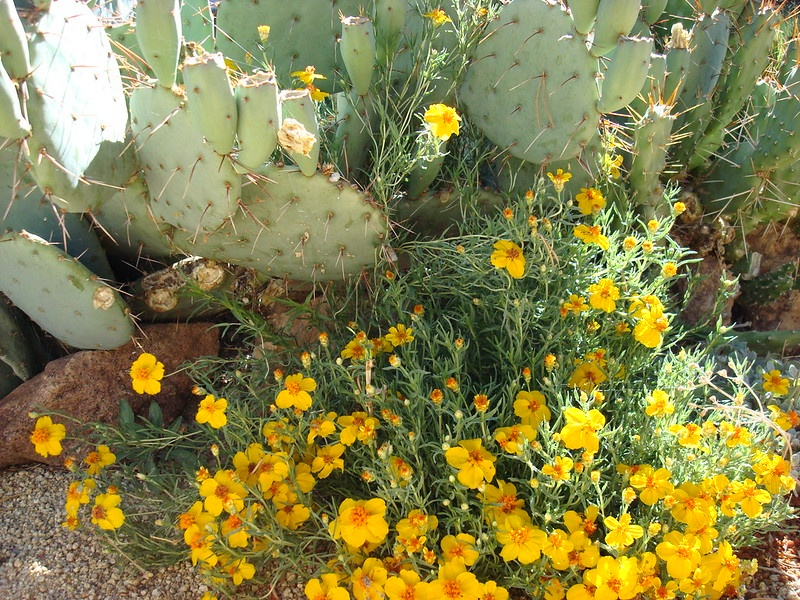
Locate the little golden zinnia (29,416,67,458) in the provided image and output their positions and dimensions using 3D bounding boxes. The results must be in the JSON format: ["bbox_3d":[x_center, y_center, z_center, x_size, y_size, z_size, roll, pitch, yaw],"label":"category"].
[{"bbox_3d":[-0.944,0.369,2.092,0.083,0.104,0.094,1,47,3],"label":"little golden zinnia"}]
